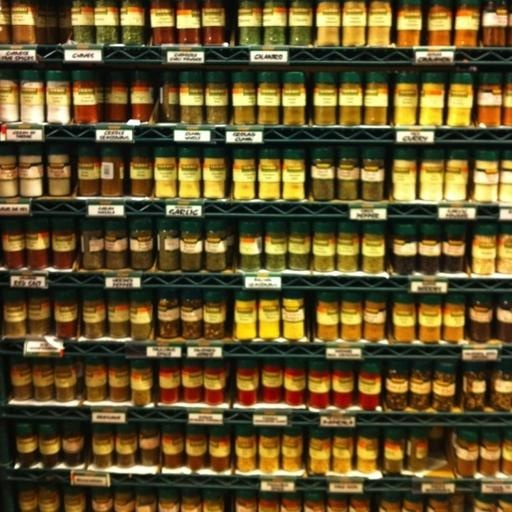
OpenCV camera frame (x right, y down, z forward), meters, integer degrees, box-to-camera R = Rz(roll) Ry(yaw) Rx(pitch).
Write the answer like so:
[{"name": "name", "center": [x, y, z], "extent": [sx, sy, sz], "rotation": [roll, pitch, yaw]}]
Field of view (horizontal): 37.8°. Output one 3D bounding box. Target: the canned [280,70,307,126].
[{"name": "canned", "center": [0.170, -0.703, 3.361], "extent": [0.098, 0.069, 0.229], "rotation": [-1, -82, 1]}]

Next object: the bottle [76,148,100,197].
[{"name": "bottle", "center": [-0.799, -0.404, 3.525], "extent": [0.129, 0.151, 0.239], "rotation": [1, -81, 1]}]

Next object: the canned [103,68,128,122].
[{"name": "canned", "center": [-0.654, -0.738, 3.479], "extent": [0.112, 0.070, 0.226], "rotation": [2, -82, 0]}]

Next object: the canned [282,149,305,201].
[{"name": "canned", "center": [0.173, -0.370, 3.417], "extent": [0.095, 0.060, 0.235], "rotation": [0, -82, 1]}]

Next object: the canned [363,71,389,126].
[{"name": "canned", "center": [0.546, -0.712, 3.400], "extent": [0.112, 0.137, 0.231], "rotation": [-2, -81, 1]}]

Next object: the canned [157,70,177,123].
[{"name": "canned", "center": [-0.400, -0.731, 3.456], "extent": [0.084, 0.060, 0.221], "rotation": [0, -82, 0]}]

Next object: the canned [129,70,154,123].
[{"name": "canned", "center": [-0.531, -0.733, 3.459], "extent": [0.102, 0.083, 0.223], "rotation": [-1, -81, 1]}]

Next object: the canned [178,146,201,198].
[{"name": "canned", "center": [-0.310, -0.379, 3.440], "extent": [0.104, 0.057, 0.231], "rotation": [0, -82, 0]}]

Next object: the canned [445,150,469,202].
[{"name": "canned", "center": [0.918, -0.368, 3.417], "extent": [0.106, 0.071, 0.230], "rotation": [0, -82, 1]}]

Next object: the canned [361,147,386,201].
[{"name": "canned", "center": [0.536, -0.374, 3.425], "extent": [0.100, 0.077, 0.243], "rotation": [-1, -82, 1]}]

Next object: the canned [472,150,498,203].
[{"name": "canned", "center": [1.058, -0.367, 3.439], "extent": [0.120, 0.106, 0.236], "rotation": [-1, -81, 1]}]
